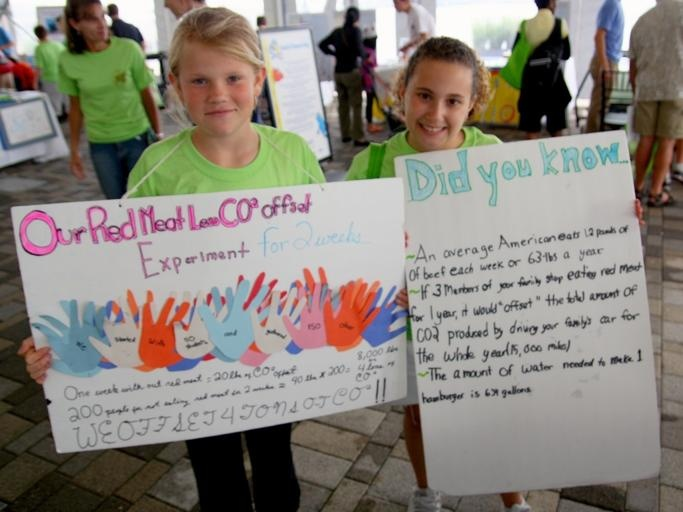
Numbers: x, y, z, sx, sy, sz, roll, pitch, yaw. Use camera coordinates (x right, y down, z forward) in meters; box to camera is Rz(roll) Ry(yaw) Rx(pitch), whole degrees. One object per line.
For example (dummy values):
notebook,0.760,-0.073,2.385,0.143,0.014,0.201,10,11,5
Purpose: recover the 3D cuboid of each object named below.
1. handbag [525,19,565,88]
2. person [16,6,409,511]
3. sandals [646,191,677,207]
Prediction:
handbag,2.064,-2.117,5.970,0.447,0.607,0.166,-19,33,-37
person,-0.390,0.124,2.273,0.749,2.061,0.464,-11,23,-16
sandals,3.148,-0.548,5.599,0.286,0.116,0.151,-9,29,-26
